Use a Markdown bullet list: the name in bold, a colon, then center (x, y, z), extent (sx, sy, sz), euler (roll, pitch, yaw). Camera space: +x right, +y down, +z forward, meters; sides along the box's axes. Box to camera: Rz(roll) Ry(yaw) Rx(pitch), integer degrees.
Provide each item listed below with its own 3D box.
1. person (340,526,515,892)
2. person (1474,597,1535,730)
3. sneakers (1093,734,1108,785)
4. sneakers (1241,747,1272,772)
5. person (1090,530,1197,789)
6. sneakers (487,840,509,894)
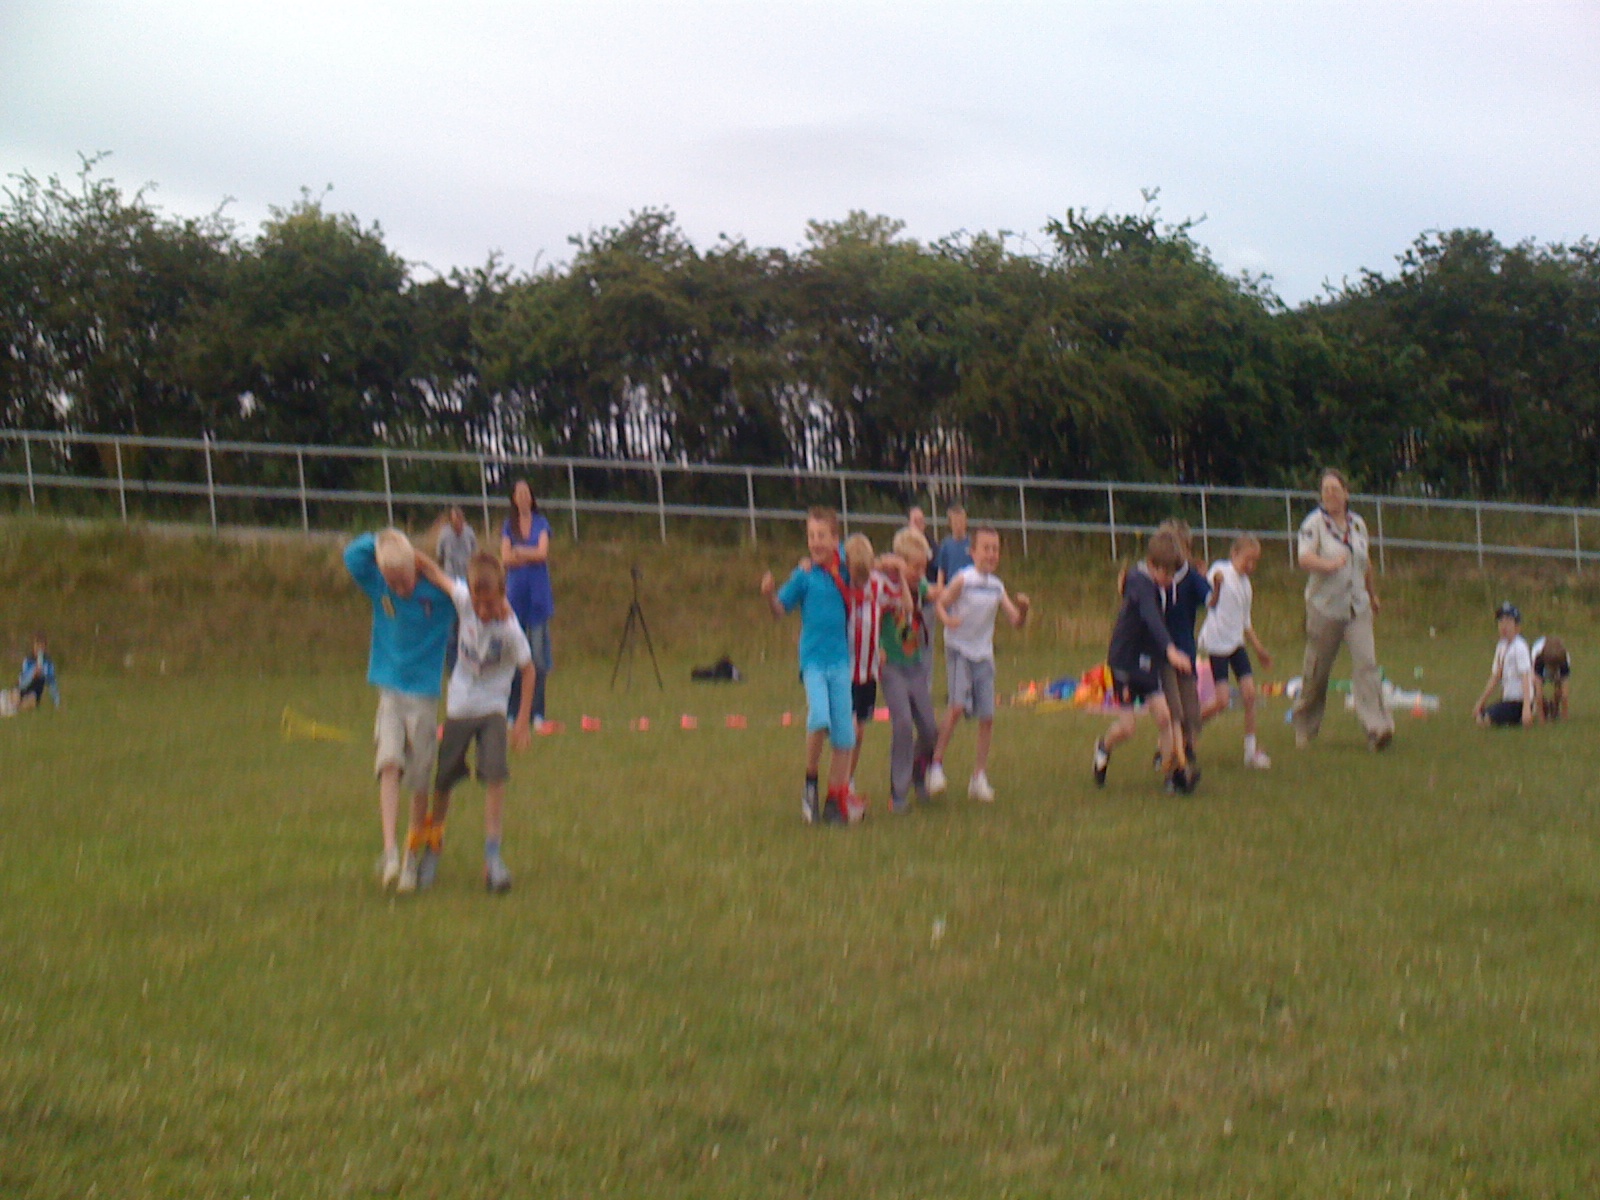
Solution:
- **person**: center (-2.187, 0.631, 11.165), extent (0.962, 2.380, 1.063), euler (5, 9, 31)
- **person**: center (6.410, 0.578, 16.622), extent (0.500, 1.125, 0.785), euler (2, 7, 22)
- **sneakers**: center (2.271, 1.246, 13.726), extent (0.101, 0.439, 0.161), euler (-1, 12, -16)
- **sneakers**: center (3.651, 1.305, 14.675), extent (0.081, 0.159, 0.213), euler (14, 6, 7)
- **person**: center (2.530, 0.487, 13.539), extent (0.738, 2.026, 1.137), euler (1, 7, 11)
- **sneakers**: center (-1.836, 1.640, 11.027), extent (0.086, 0.259, 0.316), euler (0, 12, 3)
